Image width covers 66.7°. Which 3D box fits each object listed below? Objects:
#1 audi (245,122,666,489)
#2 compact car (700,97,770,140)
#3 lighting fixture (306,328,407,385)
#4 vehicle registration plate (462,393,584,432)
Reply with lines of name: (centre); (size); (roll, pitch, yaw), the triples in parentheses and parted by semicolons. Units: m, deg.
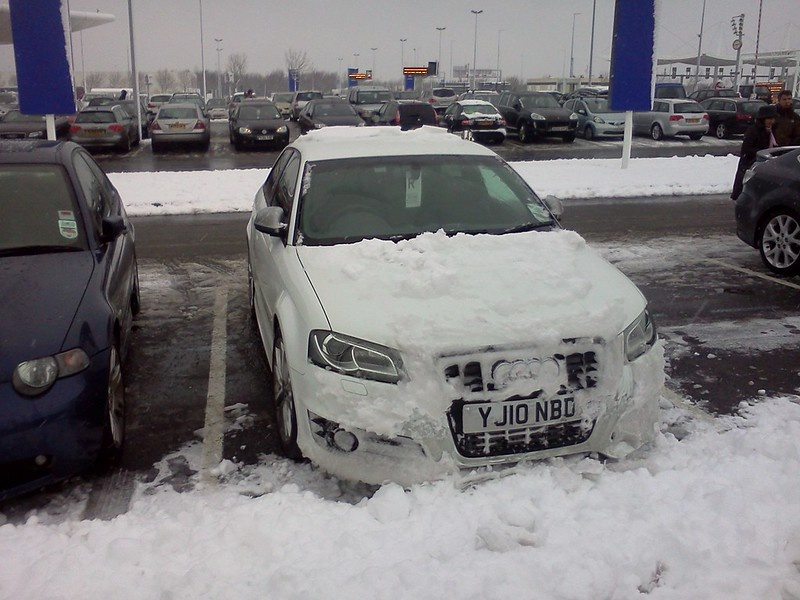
audi: (0.024, -0.019, 4.622); (1.684, 1.334, 3.233); (-5, 28, -13)
compact car: (14.588, -8.423, 27.711); (1.871, 1.655, 4.761); (-6, 23, -8)
lighting fixture: (-0.248, 0.321, 3.364); (0.326, 0.131, 0.339); (11, -17, 30)
vehicle registration plate: (0.678, 0.607, 3.366); (0.678, 0.197, 0.107); (-6, 20, -4)
